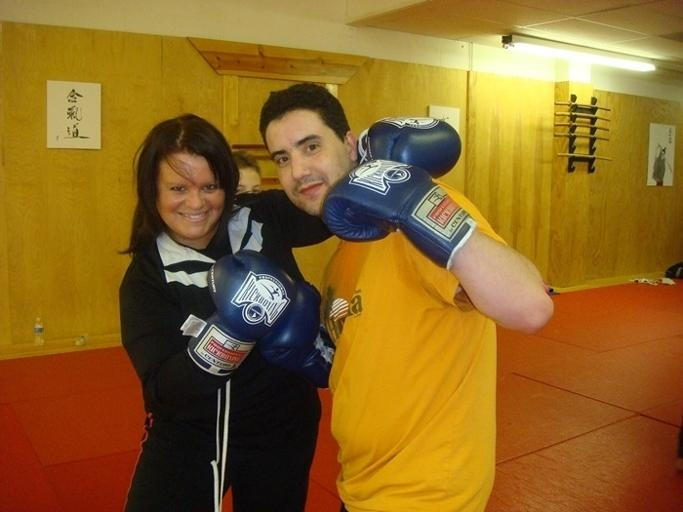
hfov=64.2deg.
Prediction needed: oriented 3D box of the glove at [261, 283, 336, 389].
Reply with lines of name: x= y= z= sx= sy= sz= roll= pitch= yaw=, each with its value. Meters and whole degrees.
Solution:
glove: x=-0.159 y=0.291 z=2.095 sx=0.211 sy=0.222 sz=0.373 roll=-9 pitch=-15 yaw=29

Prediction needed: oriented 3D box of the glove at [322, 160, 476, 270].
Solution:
glove: x=0.209 y=-0.149 z=1.788 sx=0.344 sy=0.197 sz=0.573 roll=-37 pitch=40 yaw=-20

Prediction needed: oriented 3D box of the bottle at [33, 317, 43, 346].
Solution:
bottle: x=-2.658 y=0.657 z=4.786 sx=0.083 sy=0.230 sz=0.064 roll=-6 pitch=16 yaw=-23
